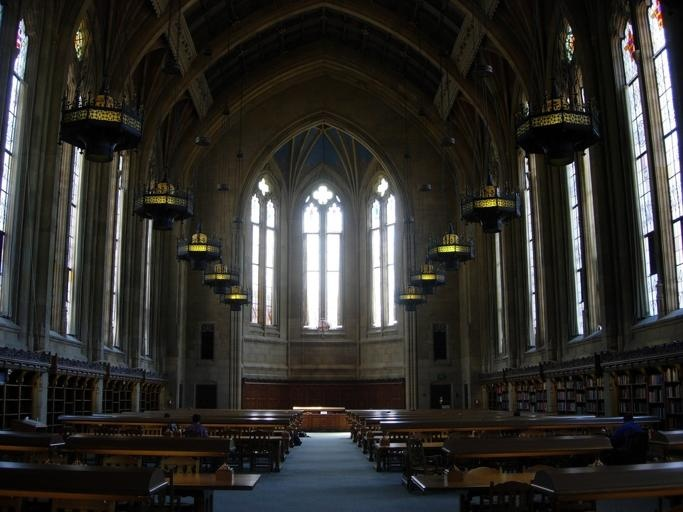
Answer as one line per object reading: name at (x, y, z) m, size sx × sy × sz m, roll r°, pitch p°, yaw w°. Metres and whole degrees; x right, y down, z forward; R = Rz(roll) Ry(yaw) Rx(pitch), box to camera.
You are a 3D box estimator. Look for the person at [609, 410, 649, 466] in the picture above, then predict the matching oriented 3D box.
person at (5.476, 3.525, 14.314) m, size 0.733 × 1.236 × 0.868 m, roll 2°, pitch -17°, yaw 5°
